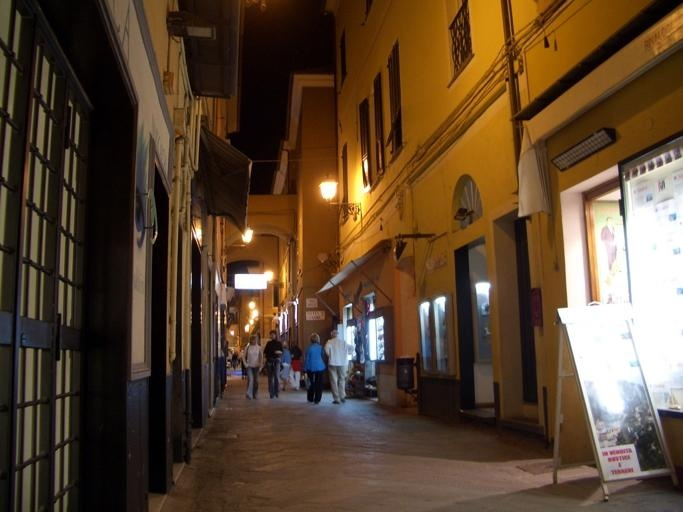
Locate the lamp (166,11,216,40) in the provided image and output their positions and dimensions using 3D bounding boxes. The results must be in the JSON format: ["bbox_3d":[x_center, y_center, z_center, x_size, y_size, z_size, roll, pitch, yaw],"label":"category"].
[{"bbox_3d":[-1.653,-2.479,6.180,0.342,0.207,0.305,-4,3,-15],"label":"lamp"}]

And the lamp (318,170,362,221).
[{"bbox_3d":[-0.103,-1.939,19.325,1.225,1.851,0.734,-4,-31,-7],"label":"lamp"}]
